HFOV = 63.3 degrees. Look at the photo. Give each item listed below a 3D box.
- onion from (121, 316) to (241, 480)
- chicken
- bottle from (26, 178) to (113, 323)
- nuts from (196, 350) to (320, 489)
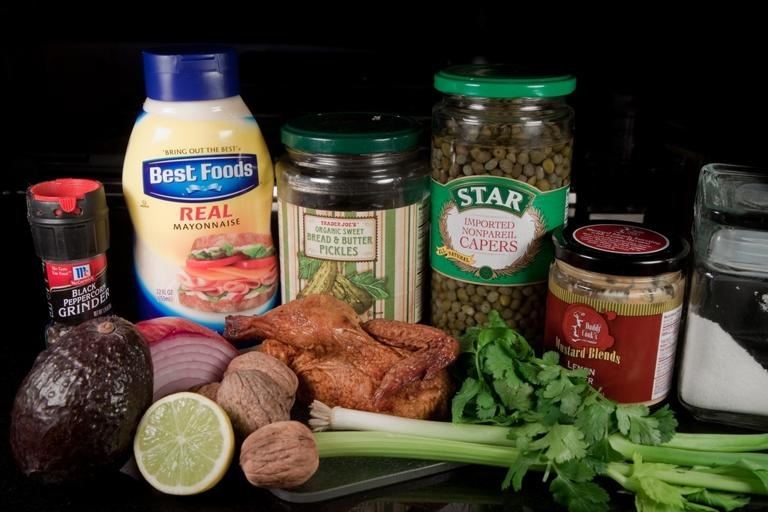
[{"bbox_3d":[-0.358,0.215,1.002,0.222,0.192,0.132,-8,33,-34],"label":"onion"},{"bbox_3d":[-0.076,0.166,1.048,0.404,0.116,0.201,16,39,14],"label":"chicken"},{"bbox_3d":[-0.509,-0.001,1.059,0.139,0.248,0.132,4,16,-1],"label":"bottle"},{"bbox_3d":[-0.146,0.224,0.939,0.198,0.159,0.153,17,21,40],"label":"nuts"}]
